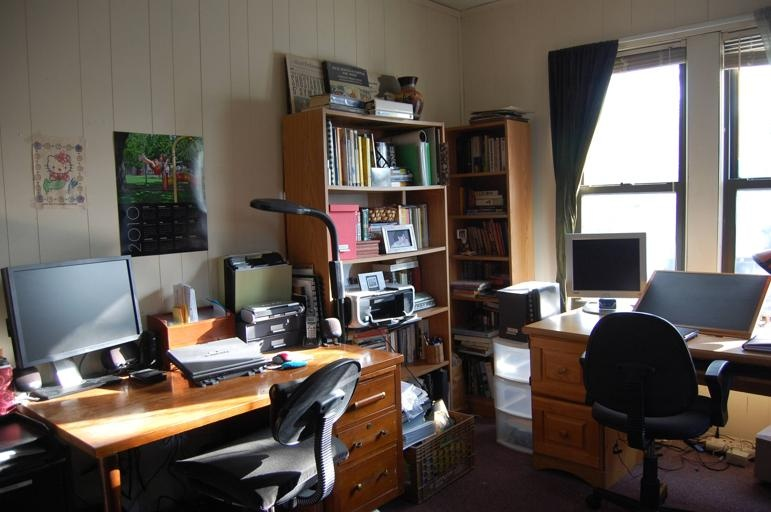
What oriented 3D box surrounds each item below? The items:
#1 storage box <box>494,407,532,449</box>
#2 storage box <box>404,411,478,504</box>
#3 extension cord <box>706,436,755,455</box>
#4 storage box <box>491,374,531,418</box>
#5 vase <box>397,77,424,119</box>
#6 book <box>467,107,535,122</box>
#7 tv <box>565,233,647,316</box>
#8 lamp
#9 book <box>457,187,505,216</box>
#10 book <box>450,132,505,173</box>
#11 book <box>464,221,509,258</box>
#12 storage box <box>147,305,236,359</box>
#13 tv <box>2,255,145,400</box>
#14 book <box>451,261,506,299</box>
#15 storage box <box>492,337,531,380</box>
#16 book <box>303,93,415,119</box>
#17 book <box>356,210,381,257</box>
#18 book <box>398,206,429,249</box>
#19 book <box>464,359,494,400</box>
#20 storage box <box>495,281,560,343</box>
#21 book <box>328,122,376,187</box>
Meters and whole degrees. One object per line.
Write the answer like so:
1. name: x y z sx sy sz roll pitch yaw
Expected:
1. storage box: 0.923 1.249 4.221 0.257 0.187 0.259 3 0 30
2. storage box: 0.378 1.328 3.803 0.419 0.422 0.705 -1 3 42
3. extension cord: 2.367 1.312 4.027 0.163 0.057 0.163 1 4 44
4. storage box: 0.943 1.031 4.294 0.363 0.199 0.377 0 -4 44
5. vase: 0.181 -1.191 4.434 0.210 0.304 0.211 -5 8 -18
6. book: 0.974 -1.141 4.736 0.557 0.121 0.294 -4 8 -17
7. tv: 1.548 0.114 4.054 0.606 0.587 0.215 0 -1 22
8. lamp: -0.521 0.084 3.608 0.491 0.886 0.711 -3 8 -5
9. book: 0.792 -0.450 4.824 0.276 0.167 0.277 -1 0 31
10. book: 0.784 -0.828 4.801 0.553 0.380 0.316 6 13 36
11. book: 0.846 -0.127 4.778 0.288 0.260 0.123 3 10 38
12. storage box: -1.206 0.479 3.563 0.235 0.151 0.339 -14 -7 39
13. tv: -1.715 0.388 3.131 0.301 0.757 0.700 -3 3 38
14. book: 0.802 0.183 4.871 0.497 0.262 0.341 4 7 34
15. storage box: 0.987 0.757 4.330 0.312 0.296 0.237 6 18 29
16. book: -0.127 -1.031 4.098 0.819 0.154 0.224 -7 9 -33
17. book: -0.057 -0.159 4.187 0.292 0.284 0.268 0 3 1
18. book: 0.201 -0.215 4.461 0.238 0.315 0.327 -2 0 -36
19. book: 0.794 0.991 4.915 0.266 0.350 0.370 -3 1 20
20. storage box: 1.122 0.345 4.357 0.411 0.323 0.220 -12 10 -42
21. book: -0.240 -0.675 3.994 0.278 0.465 0.483 3 6 30
